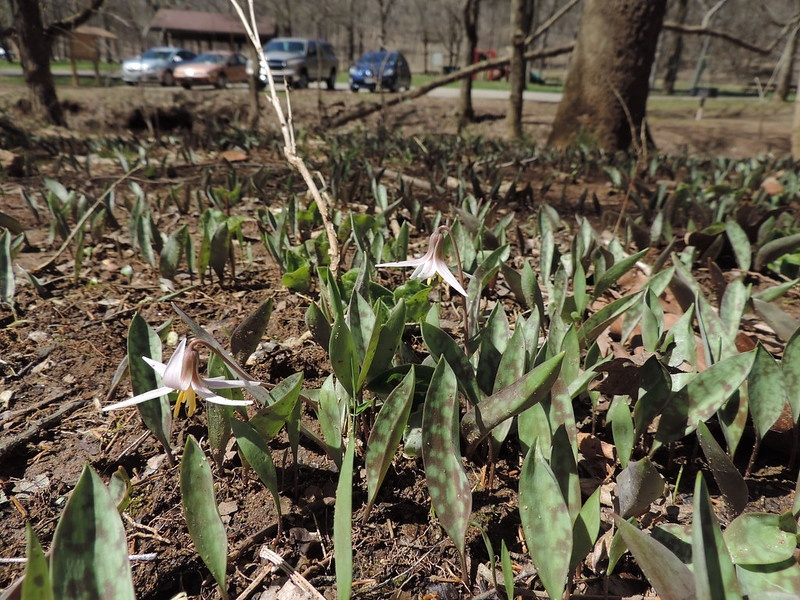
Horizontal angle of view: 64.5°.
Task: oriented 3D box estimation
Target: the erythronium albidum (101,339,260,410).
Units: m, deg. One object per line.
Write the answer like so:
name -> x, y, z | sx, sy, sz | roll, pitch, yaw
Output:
erythronium albidum -> -0.644, 0.227, 1.903 | 0.289, 0.209, 0.349 | 11, 11, 32

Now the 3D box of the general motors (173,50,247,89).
general motors -> -2.446, -3.001, 8.276 | 0.433, 0.408, 1.130 | 8, 23, 20
